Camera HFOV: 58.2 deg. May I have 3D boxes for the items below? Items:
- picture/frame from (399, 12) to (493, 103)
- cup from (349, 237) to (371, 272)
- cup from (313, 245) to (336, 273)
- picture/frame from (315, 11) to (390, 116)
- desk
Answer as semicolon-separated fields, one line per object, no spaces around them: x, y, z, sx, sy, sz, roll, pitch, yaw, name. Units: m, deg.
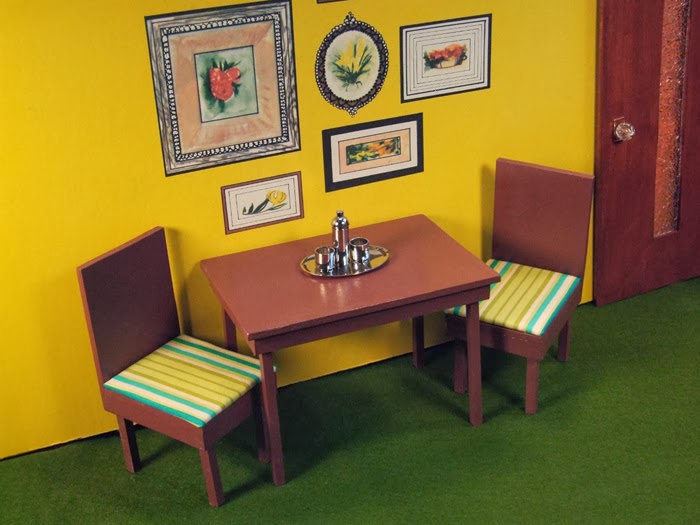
0.452;-1.020;3.085;0.396;0.325;0.014;-12;26;-16;picture/frame
0.043;-0.038;2.859;0.082;0.150;0.153;-2;25;0;cup
-0.117;-0.014;2.830;0.072;0.085;0.117;1;20;5;cup
-0.003;-0.954;2.961;0.404;0.541;0.010;-9;23;-17;picture/frame
-0.024;0.676;3.158;1.448;0.961;1.031;-15;36;-21;desk
